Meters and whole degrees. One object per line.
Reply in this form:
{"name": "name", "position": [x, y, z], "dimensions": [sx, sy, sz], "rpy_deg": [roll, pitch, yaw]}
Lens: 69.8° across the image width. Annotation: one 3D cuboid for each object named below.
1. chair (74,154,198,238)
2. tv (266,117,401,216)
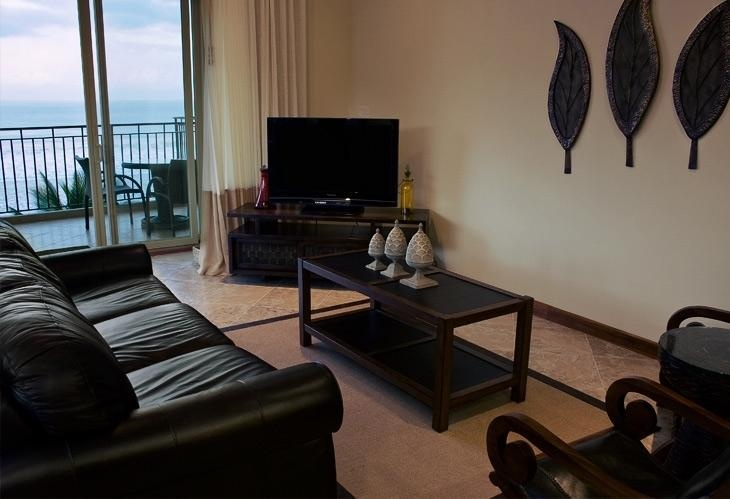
{"name": "chair", "position": [-2.458, -0.590, 5.652], "dimensions": [0.941, 1.308, 0.830], "rpy_deg": [-8, 14, -30]}
{"name": "tv", "position": [-0.316, -0.840, 5.096], "dimensions": [0.968, 0.666, 0.107], "rpy_deg": [2, 17, 4]}
